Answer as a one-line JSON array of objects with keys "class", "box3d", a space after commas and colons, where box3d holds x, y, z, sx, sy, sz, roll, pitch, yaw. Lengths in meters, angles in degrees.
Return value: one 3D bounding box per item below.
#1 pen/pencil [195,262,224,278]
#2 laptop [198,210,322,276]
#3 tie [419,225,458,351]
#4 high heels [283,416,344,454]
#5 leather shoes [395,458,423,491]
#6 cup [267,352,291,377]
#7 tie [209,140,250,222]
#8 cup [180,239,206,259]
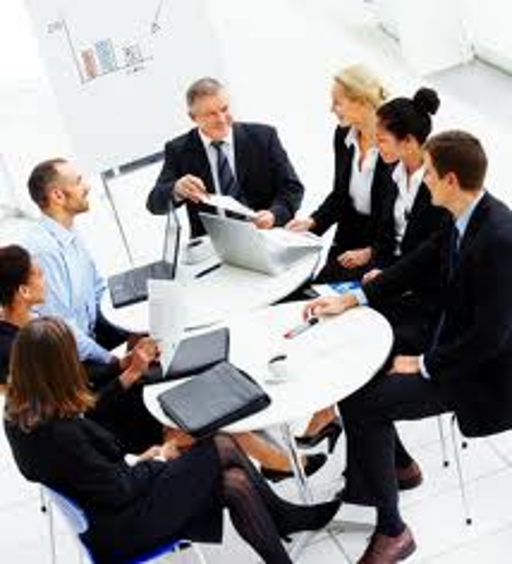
[{"class": "pen/pencil", "box3d": [-0.214, -0.052, 2.314, 0.146, 0.023, 0.022, -28, 37, -36]}, {"class": "laptop", "box3d": [0.006, -0.166, 2.218, 0.396, 0.235, 0.369, -25, 32, -33]}, {"class": "tie", "box3d": [0.630, -0.002, 1.647, 0.081, 0.474, 0.051, 5, -21, 6]}, {"class": "high heels", "box3d": [0.282, 0.665, 2.151, 0.315, 0.158, 0.098, -2, 0, -27]}, {"class": "leather shoes", "box3d": [0.572, 0.740, 1.935, 0.067, 0.065, 0.157, -24, 20, -10]}, {"class": "cup", "box3d": [0.067, 0.250, 1.494, 0.054, 0.045, 0.066, -6, 27, 5]}, {"class": "tie", "box3d": [-0.171, -0.613, 2.849, 0.113, 0.625, 0.078, -17, 15, 8]}, {"class": "cup", "box3d": [-0.305, -0.165, 2.486, 0.125, 0.077, 0.091, -9, 27, 6]}]
